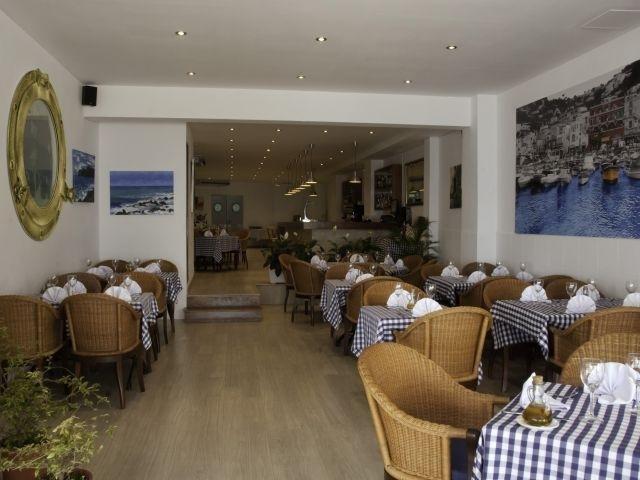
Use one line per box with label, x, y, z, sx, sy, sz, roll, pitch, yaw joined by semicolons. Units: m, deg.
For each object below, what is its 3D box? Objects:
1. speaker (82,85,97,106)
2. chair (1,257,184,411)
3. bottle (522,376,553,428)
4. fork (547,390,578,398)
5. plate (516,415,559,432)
speaker;-3.364;-2.106;6.459;0.219;0.335;0.306;-2;4;-27
chair;-2.193;0.825;4.588;0.831;0.943;1.391;1;4;-11
bottle;0.935;0.684;1.909;0.120;0.201;0.122;-2;6;0
fork;1.216;0.768;2.220;0.084;0.031;0.057;-3;-4;-9
plate;0.931;0.769;1.879;0.190;0.024;0.120;0;3;5
